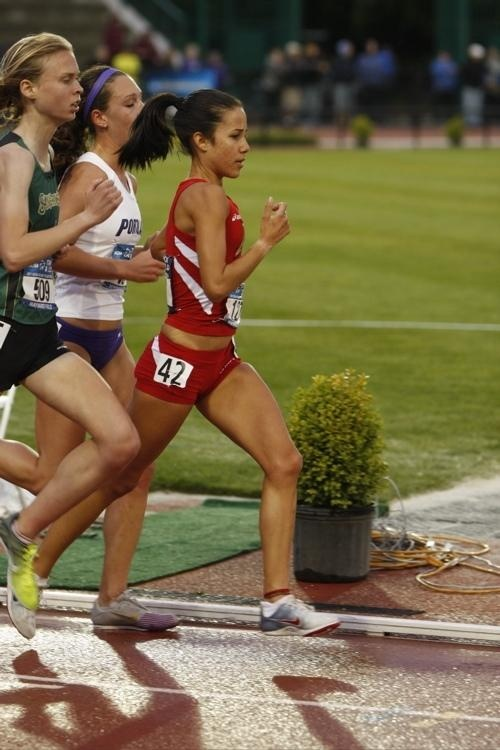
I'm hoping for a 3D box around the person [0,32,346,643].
[{"bbox_3d":[-0.166,-0.004,2.763,0.952,1.861,0.597,2,4,11],"label":"person"}]

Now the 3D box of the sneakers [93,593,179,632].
[{"bbox_3d":[-0.434,0.859,3.071,0.377,0.126,0.121,3,-3,1],"label":"sneakers"}]

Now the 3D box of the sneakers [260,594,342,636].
[{"bbox_3d":[0.146,0.794,2.814,0.334,0.124,0.103,0,-3,4],"label":"sneakers"}]
